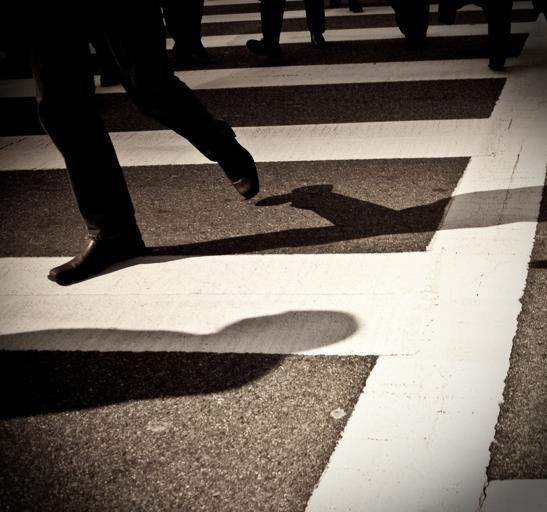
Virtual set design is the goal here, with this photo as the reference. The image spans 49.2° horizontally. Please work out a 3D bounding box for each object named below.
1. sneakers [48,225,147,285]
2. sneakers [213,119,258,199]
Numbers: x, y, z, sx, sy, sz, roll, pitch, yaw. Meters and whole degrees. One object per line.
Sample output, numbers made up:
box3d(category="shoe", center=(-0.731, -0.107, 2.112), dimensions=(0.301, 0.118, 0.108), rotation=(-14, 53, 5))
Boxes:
box3d(category="sneakers", center=(-0.880, -0.019, 3.117), dimensions=(0.579, 0.236, 0.184), rotation=(-22, 20, -33))
box3d(category="sneakers", center=(-0.165, -0.471, 3.222), dimensions=(0.165, 0.484, 0.202), rotation=(-41, 50, -19))
